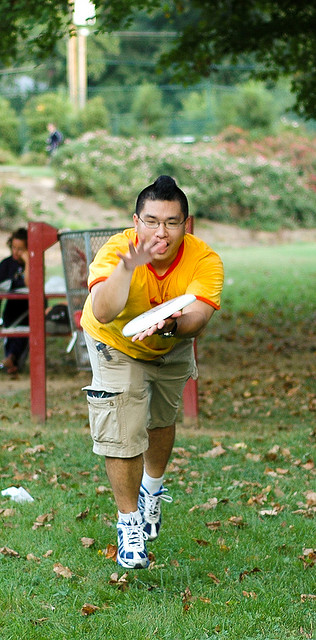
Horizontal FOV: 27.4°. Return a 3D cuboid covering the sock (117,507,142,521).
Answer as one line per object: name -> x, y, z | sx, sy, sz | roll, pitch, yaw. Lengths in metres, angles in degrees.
sock -> -0.118, 0.823, 2.731 | 0.090, 0.037, 0.073 | -3, 10, -9

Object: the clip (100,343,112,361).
clip -> -0.226, 0.141, 2.793 | 0.052, 0.071, 0.016 | 7, 14, 38

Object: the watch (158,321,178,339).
watch -> 0.041, 0.048, 2.623 | 0.072, 0.081, 0.051 | 2, 20, 2

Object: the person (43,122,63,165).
person -> -0.955, -1.647, 5.858 | 0.183, 0.269, 0.923 | -3, 10, -9

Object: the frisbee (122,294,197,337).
frisbee -> -0.019, -0.027, 2.457 | 0.291, 0.122, 0.265 | -5, 11, -21

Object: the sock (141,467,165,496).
sock -> -0.032, 0.809, 3.244 | 0.100, 0.083, 0.140 | 0, 10, 7

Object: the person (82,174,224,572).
person -> -0.003, 0.311, 2.849 | 0.631, 1.852, 0.911 | -3, 11, -8

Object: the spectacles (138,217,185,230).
spectacles -> 0.014, -0.390, 2.641 | 0.161, 0.045, 0.053 | -2, 11, -3
